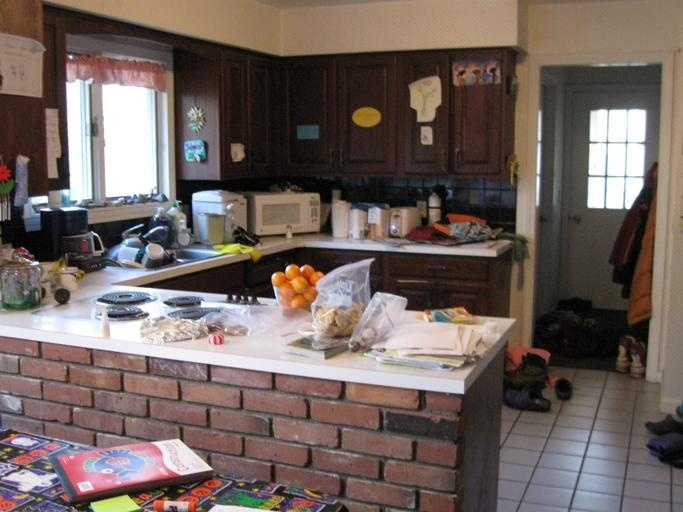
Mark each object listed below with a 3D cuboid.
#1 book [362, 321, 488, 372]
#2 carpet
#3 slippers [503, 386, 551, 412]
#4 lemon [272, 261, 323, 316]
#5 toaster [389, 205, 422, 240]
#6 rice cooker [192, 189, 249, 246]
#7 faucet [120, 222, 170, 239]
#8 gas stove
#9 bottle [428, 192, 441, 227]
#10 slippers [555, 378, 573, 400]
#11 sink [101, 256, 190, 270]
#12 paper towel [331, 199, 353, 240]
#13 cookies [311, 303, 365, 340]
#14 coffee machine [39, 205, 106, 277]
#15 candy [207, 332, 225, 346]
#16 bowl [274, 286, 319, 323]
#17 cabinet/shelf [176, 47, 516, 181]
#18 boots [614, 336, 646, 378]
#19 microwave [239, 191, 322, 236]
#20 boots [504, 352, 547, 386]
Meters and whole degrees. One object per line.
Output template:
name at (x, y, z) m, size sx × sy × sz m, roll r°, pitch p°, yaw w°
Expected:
book at (0.314, 0.256, 1.943) m, size 0.405 × 0.112 × 0.379 m, roll 7°, pitch 8°, yaw 18°
carpet at (2.307, 0.784, 5.433) m, size 0.632 × 0.238 × 0.821 m, roll 3°, pitch 11°, yaw 25°
slippers at (1.396, 1.036, 4.140) m, size 0.254 × 0.105 × 0.185 m, roll 4°, pitch 1°, yaw -34°
lemon at (-0.169, 0.123, 2.245) m, size 0.194 × 0.139 × 0.195 m, roll -3°, pitch 8°, yaw -16°
toaster at (0.518, -0.291, 4.798) m, size 0.235 × 0.227 × 0.266 m, roll 0°, pitch 2°, yaw 36°
rice cooker at (-0.985, -0.343, 4.351) m, size 0.365 × 0.437 × 0.299 m, roll 8°, pitch 14°, yaw 18°
faucet at (-1.363, -0.170, 3.858) m, size 0.193 × 0.067 × 0.184 m, roll -12°, pitch 10°, yaw -34°
gas stove at (-0.779, 0.235, 2.338) m, size 1.070 × 0.055 × 0.596 m, roll 3°, pitch 11°, yaw 23°
bottle at (0.818, -0.423, 4.920) m, size 0.115 × 0.274 × 0.260 m, roll 1°, pitch 10°, yaw 12°
slippers at (1.715, 1.031, 4.320) m, size 0.104 × 0.065 × 0.170 m, roll -1°, pitch 9°, yaw 3°
sink at (-1.254, 0.034, 3.564) m, size 0.474 × 0.080 × 0.293 m, roll -4°, pitch 11°, yaw -17°
paper towel at (-0.008, -0.311, 4.862) m, size 0.183 × 0.295 × 0.180 m, roll 4°, pitch 9°, yaw 8°
cookies at (-0.024, 0.225, 2.043) m, size 0.152 × 0.119 × 0.150 m, roll -3°, pitch 14°, yaw -29°
coffee machine at (-1.586, -0.102, 3.284) m, size 0.388 × 0.478 × 0.356 m, roll 2°, pitch 8°, yaw 13°
candy at (-0.445, 0.291, 1.989) m, size 0.044 × 0.029 × 0.044 m, roll 2°, pitch 10°, yaw 5°
bowl at (-0.221, 0.183, 2.298) m, size 0.222 × 0.116 × 0.130 m, roll 6°, pitch 13°, yaw 35°
cabinet/shelf at (-0.006, -1.162, 4.647) m, size 2.676 × 1.049 × 0.746 m, roll -2°, pitch 10°, yaw -5°
boots at (2.402, 0.864, 4.679) m, size 0.154 × 0.175 × 0.406 m, roll 2°, pitch 7°, yaw 31°
microwave at (-0.491, -0.358, 4.729) m, size 0.617 × 0.332 × 0.215 m, roll -3°, pitch 10°, yaw -8°
boots at (1.449, 0.900, 4.389) m, size 0.272 × 0.103 × 0.269 m, roll -2°, pitch 13°, yaw 2°
